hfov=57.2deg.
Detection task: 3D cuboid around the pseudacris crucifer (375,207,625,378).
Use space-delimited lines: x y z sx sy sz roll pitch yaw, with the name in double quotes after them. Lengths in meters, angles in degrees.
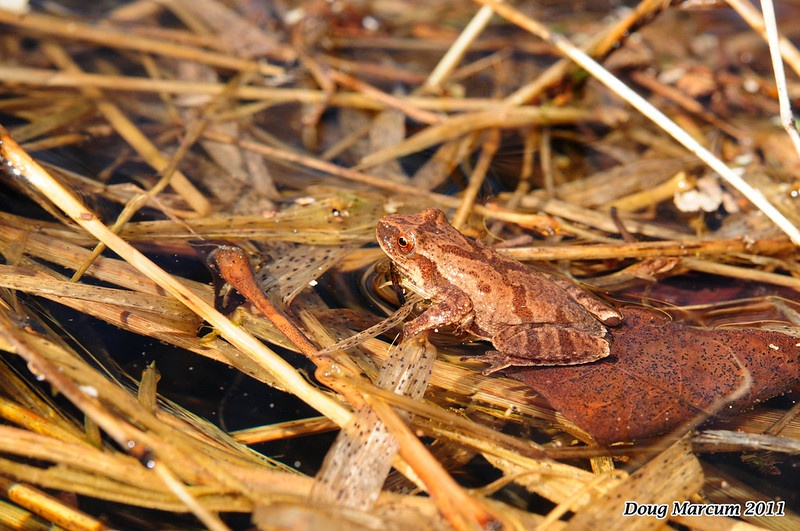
0.512 0.165 4.212 1.279 0.428 0.896 20 46 25 "pseudacris crucifer"
